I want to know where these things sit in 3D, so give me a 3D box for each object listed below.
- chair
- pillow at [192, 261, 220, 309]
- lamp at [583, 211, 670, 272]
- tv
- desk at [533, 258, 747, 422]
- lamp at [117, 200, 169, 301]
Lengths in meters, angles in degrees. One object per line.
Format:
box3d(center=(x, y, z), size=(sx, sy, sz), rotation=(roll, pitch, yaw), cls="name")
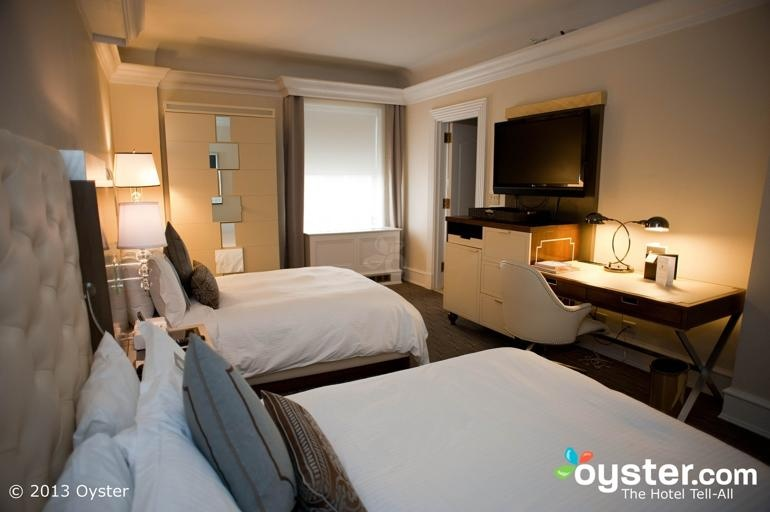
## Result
box3d(center=(1.343, 0.335, 4.201), size=(0.731, 0.863, 0.706), rotation=(-4, 7, -17), cls="chair")
box3d(center=(-1.473, 0.242, 3.971), size=(0.134, 0.226, 0.356), rotation=(-8, 10, -20), cls="pillow")
box3d(center=(1.972, -0.107, 4.106), size=(0.638, 0.502, 0.192), rotation=(11, 1, 43), cls="lamp")
box3d(center=(1.628, -1.021, 4.756), size=(0.143, 0.756, 1.004), rotation=(-5, 8, -32), cls="tv")
box3d(center=(2.054, 0.629, 4.022), size=(0.679, 0.845, 1.299), rotation=(-5, 11, -20), cls="desk")
box3d(center=(-1.795, -0.065, 3.595), size=(0.303, 0.669, 0.621), rotation=(-5, 10, -28), cls="lamp")
